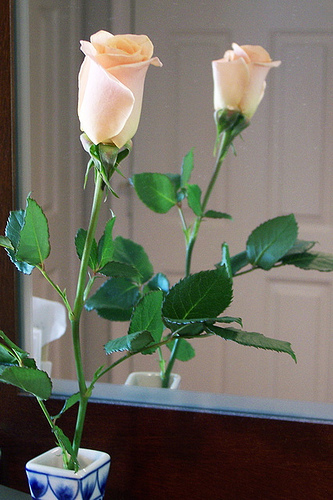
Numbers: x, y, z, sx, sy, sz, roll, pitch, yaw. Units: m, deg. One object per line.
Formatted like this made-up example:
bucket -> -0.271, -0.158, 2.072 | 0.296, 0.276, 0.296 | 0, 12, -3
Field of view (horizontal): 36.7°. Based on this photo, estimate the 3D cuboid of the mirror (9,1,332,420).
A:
mirror -> -0.005, -0.040, 0.449 | 0.313, 0.348, 0.040 | 4, 1, 13
